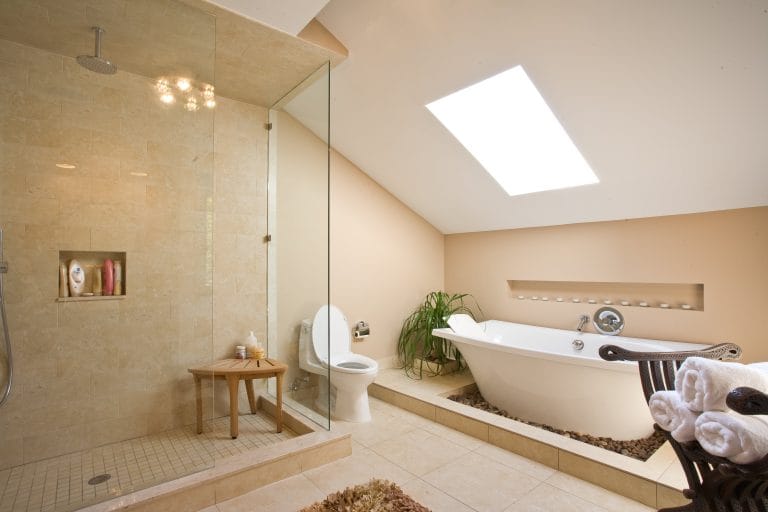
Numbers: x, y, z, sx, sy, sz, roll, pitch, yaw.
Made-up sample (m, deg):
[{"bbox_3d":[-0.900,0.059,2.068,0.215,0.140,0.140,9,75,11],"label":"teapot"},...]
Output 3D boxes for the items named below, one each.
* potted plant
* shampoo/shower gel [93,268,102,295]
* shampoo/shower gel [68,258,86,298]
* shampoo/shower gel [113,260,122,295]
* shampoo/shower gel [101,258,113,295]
[{"bbox_3d":[0.622,0.940,6.038,0.995,0.894,0.980,2,-2,-35],"label":"potted plant"},{"bbox_3d":[-1.963,0.174,3.268,0.068,0.190,0.028,-9,14,-30],"label":"shampoo/shower gel"},{"bbox_3d":[-2.071,0.147,3.214,0.104,0.241,0.042,-9,14,-32],"label":"shampoo/shower gel"},{"bbox_3d":[-1.855,0.151,3.322,0.071,0.243,0.036,-9,14,-30],"label":"shampoo/shower gel"},{"bbox_3d":[-1.909,0.145,3.294,0.088,0.251,0.040,-9,14,-30],"label":"shampoo/shower gel"}]
